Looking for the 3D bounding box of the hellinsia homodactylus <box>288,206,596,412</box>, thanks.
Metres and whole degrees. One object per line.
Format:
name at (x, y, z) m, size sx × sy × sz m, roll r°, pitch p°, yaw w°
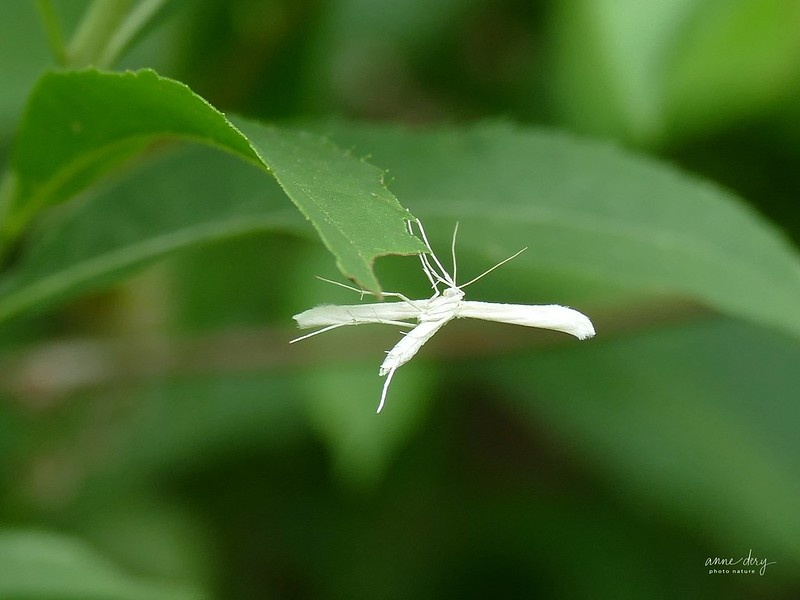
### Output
hellinsia homodactylus at (0.020, 0.034, 1.053) m, size 0.337 × 0.058 × 0.326 m, roll -34°, pitch 58°, yaw -28°
